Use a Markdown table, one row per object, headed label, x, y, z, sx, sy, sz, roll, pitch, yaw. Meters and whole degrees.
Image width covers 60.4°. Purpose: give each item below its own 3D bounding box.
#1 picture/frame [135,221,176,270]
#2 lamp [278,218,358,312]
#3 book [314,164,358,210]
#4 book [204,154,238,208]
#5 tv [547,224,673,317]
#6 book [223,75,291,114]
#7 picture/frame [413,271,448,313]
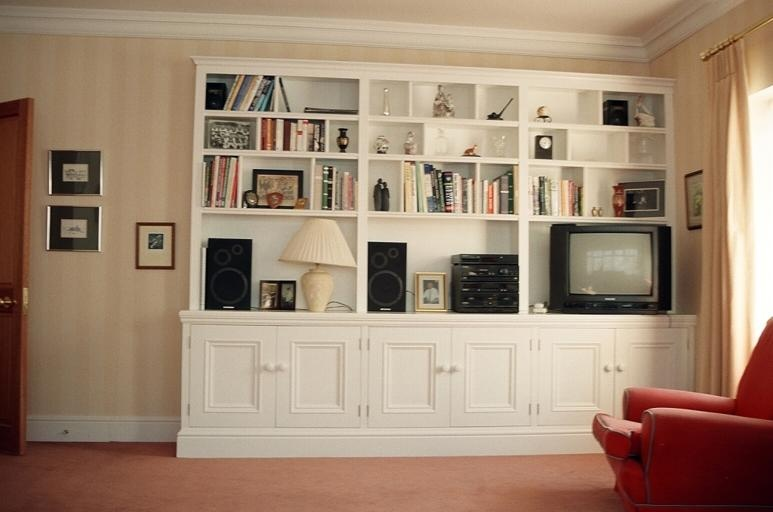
| label | x | y | z | sx | sy | sz | roll | pitch | yaw |
| --- | --- | --- | --- | --- | --- | --- | --- | --- | --- |
| picture/frame | -2.002 | -0.087 | 5.705 | 0.481 | 0.494 | 0.036 | 0 | 0 | -7 |
| lamp | -0.570 | 0.074 | 5.583 | 0.619 | 0.783 | 0.447 | 1 | -2 | -4 |
| book | -0.433 | -0.544 | 5.705 | 0.518 | 0.433 | 0.353 | 0 | 0 | -6 |
| book | -1.383 | -0.623 | 5.547 | 0.291 | 0.418 | 0.069 | 1 | -2 | -14 |
| tv | 1.888 | 0.099 | 5.873 | 1.346 | 0.883 | 0.729 | 0 | -3 | 4 |
| book | -1.100 | -1.359 | 5.592 | 0.378 | 0.310 | 0.127 | 9 | -2 | -9 |
| picture/frame | 0.380 | 0.318 | 5.722 | 0.391 | 0.405 | 0.030 | 0 | -6 | -7 |
